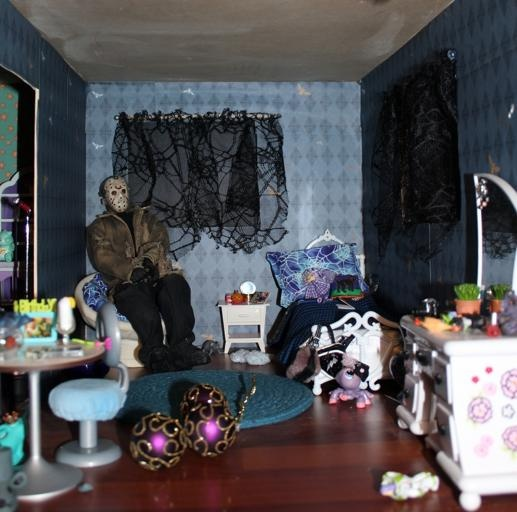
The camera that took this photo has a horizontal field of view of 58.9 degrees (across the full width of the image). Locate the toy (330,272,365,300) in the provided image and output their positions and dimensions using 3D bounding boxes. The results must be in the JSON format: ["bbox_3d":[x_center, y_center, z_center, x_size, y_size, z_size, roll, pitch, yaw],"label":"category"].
[{"bbox_3d":[0.784,0.280,4.090,0.280,0.207,0.295,0,1,9],"label":"toy"}]

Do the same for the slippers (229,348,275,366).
[{"bbox_3d":[-0.085,0.899,4.117,0.414,0.099,0.237,1,1,34],"label":"slippers"}]

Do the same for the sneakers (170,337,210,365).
[{"bbox_3d":[-0.578,0.824,3.845,0.320,0.247,0.164,0,1,-27],"label":"sneakers"}]

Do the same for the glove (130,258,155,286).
[{"bbox_3d":[-0.982,0.123,3.947,0.179,0.226,0.198,0,1,7],"label":"glove"}]

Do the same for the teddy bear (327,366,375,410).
[{"bbox_3d":[0.621,0.816,2.997,0.327,0.277,0.211,0,-2,13],"label":"teddy bear"}]

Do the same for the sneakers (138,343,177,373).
[{"bbox_3d":[-0.825,0.847,3.780,0.268,0.236,0.270,0,1,2],"label":"sneakers"}]

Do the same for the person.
[{"bbox_3d":[-0.997,0.103,4.026,0.681,1.682,1.053,-1,1,-41],"label":"person"}]
